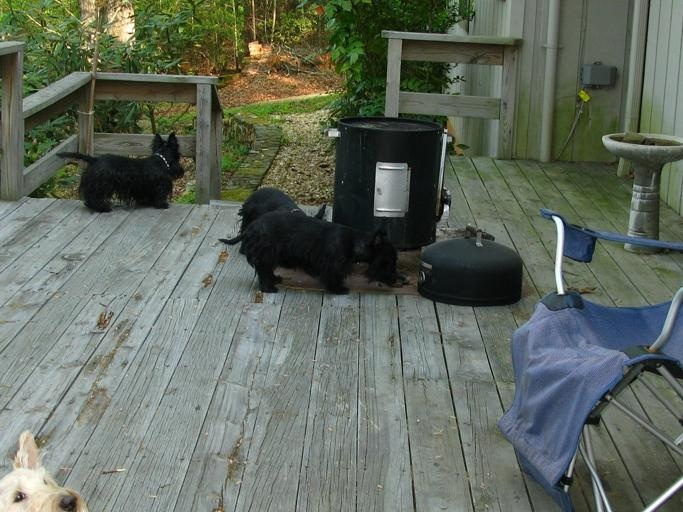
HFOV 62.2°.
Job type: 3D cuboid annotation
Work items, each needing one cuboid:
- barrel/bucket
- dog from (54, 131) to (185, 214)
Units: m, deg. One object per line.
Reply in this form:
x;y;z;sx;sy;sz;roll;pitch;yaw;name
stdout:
0.307;-0.474;4.268;0.888;0.906;0.826;2;20;-1;barrel/bucket
-1.732;-0.669;4.588;0.946;0.638;0.360;-6;13;-35;dog
